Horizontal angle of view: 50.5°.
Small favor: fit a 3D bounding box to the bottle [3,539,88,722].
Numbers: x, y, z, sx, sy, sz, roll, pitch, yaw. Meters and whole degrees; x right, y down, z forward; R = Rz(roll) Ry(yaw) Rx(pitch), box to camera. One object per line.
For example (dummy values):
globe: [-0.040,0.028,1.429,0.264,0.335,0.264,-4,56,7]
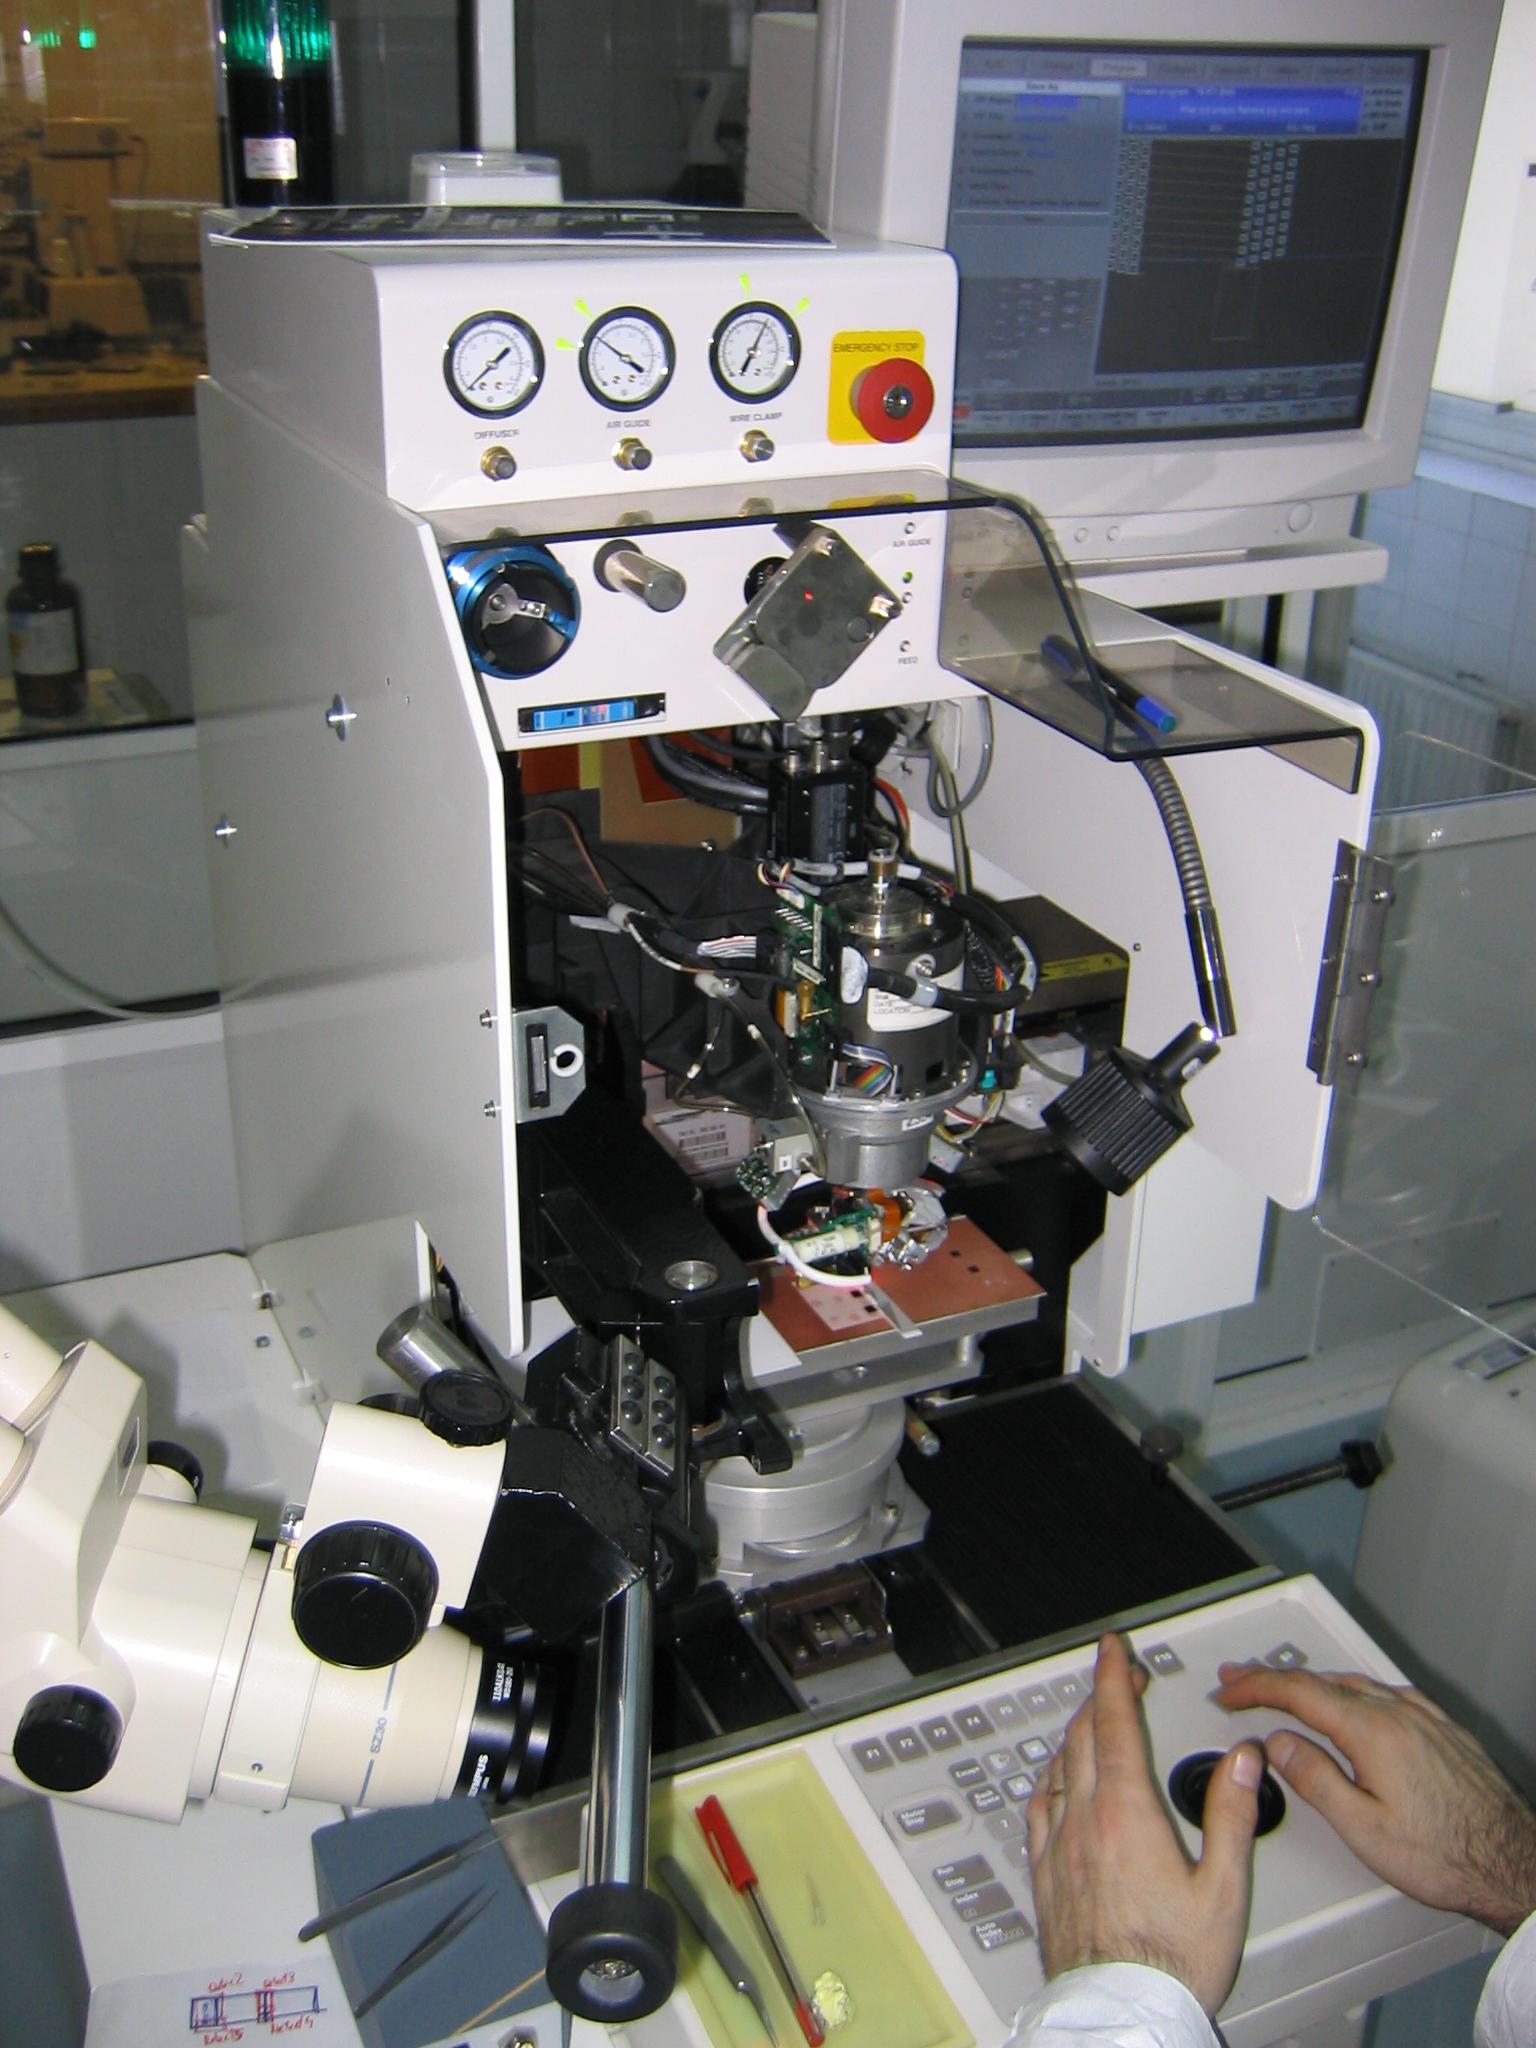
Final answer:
bottle: [-0.915,-0.491,2.064,0.091,0.226,0.025,-3,26,-10]
